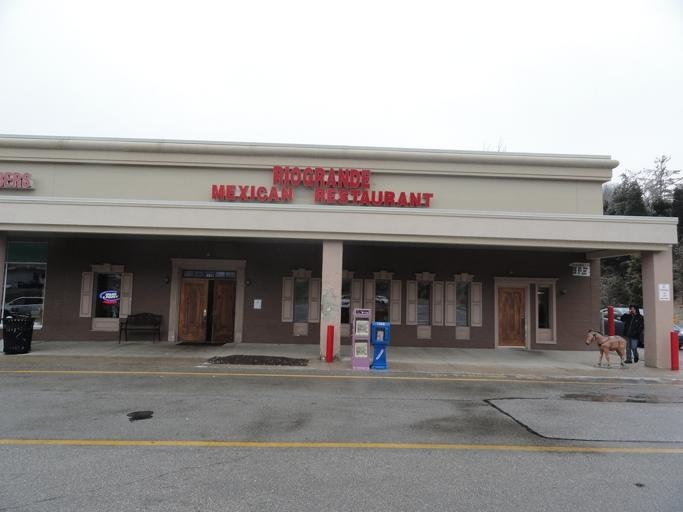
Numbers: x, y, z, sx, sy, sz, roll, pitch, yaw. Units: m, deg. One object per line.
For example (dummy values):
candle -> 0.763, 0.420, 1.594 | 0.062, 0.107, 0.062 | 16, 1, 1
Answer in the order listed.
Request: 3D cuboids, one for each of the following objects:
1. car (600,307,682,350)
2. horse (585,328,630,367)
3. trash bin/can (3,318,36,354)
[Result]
car -> 10.259, 2.527, 19.240 | 1.837, 1.392, 4.004 | 5, -9, -32
horse -> 8.518, 2.980, 17.900 | 1.462, 1.124, 0.437 | 4, -9, -10
trash bin/can -> -10.171, 2.555, 17.832 | 0.998, 1.299, 1.061 | -8, -11, 18
